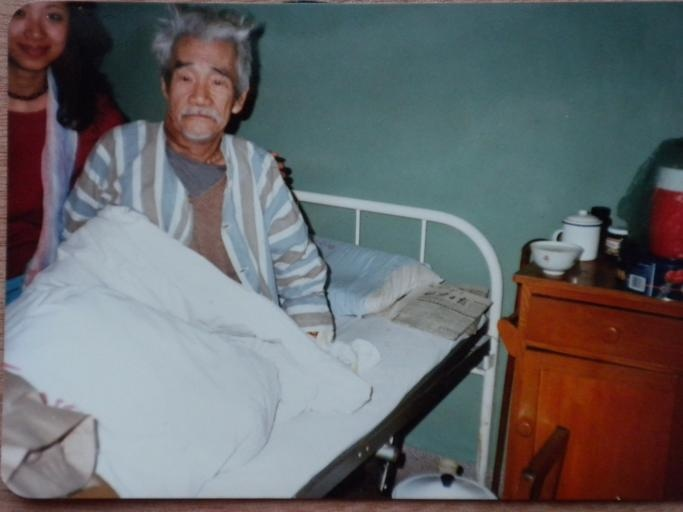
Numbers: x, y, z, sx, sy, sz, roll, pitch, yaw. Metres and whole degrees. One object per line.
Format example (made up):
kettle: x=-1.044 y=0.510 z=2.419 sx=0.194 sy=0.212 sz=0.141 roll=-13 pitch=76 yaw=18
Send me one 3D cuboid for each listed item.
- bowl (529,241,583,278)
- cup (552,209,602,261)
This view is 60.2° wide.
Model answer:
bowl: x=0.551 y=0.010 z=1.522 sx=0.125 sy=0.069 sz=0.123 roll=2 pitch=14 yaw=0
cup: x=0.616 y=-0.059 z=1.596 sx=0.140 sy=0.141 sz=0.093 roll=-2 pitch=21 yaw=12
